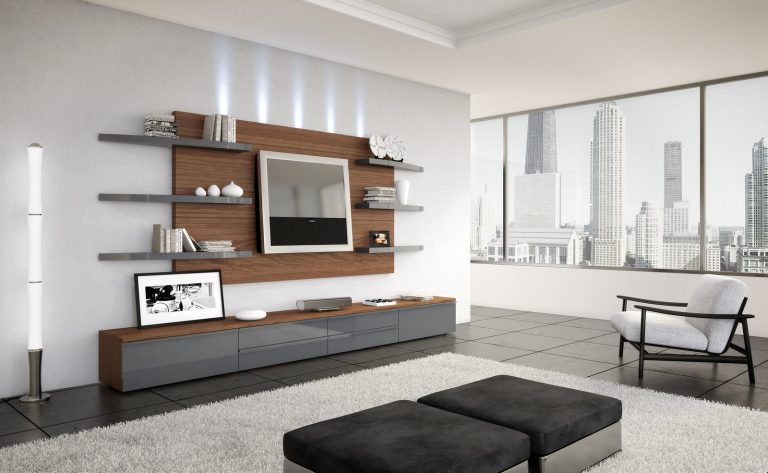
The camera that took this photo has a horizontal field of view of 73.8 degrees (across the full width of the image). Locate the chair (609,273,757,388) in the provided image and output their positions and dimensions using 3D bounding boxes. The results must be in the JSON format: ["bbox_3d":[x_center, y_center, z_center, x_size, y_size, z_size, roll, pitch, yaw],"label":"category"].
[{"bbox_3d":[3.332,0.931,5.792,1.481,0.878,1.206,-2,4,-2],"label":"chair"}]

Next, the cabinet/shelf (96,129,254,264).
[{"bbox_3d":[-2.430,-0.466,5.843,0.638,1.327,1.889,13,10,41],"label":"cabinet/shelf"}]

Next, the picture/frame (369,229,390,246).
[{"bbox_3d":[-0.078,0.008,7.211,0.267,0.163,0.026,2,-9,-35],"label":"picture/frame"}]

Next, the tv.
[{"bbox_3d":[-1.012,-0.402,6.636,0.148,1.222,1.443,-2,0,41],"label":"tv"}]

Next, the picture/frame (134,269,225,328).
[{"bbox_3d":[-2.242,0.670,5.682,0.901,0.577,0.270,-3,9,-27],"label":"picture/frame"}]

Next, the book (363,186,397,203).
[{"bbox_3d":[-0.075,-0.580,7.156,0.269,0.152,0.359,0,-1,41],"label":"book"}]
